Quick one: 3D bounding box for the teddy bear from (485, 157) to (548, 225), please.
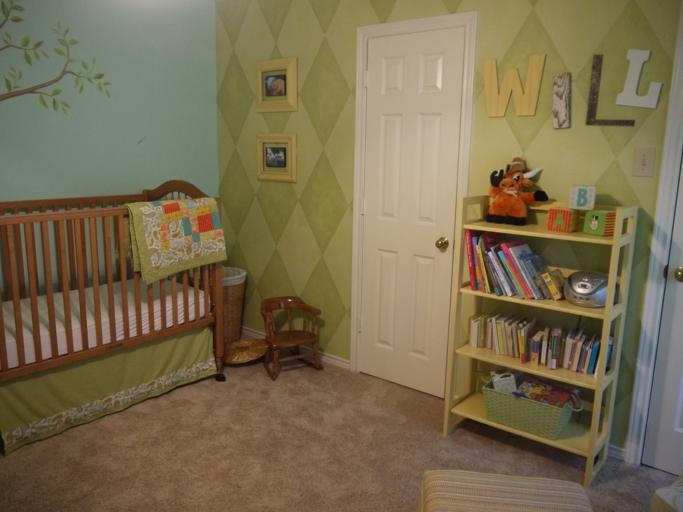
[{"bbox_3d":[1.073,-0.383,3.251,0.332,0.480,0.168,6,-5,36],"label":"teddy bear"}]

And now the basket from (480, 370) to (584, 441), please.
[{"bbox_3d":[1.150,0.857,3.267,0.524,0.308,0.317,11,19,29],"label":"basket"}]

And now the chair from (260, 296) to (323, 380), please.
[{"bbox_3d":[-0.394,0.627,4.120,0.385,0.576,0.408,-5,11,-24],"label":"chair"}]

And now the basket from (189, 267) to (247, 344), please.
[{"bbox_3d":[-0.988,0.478,4.529,0.296,0.496,0.332,-10,6,27],"label":"basket"}]

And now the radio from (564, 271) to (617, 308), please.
[{"bbox_3d":[1.422,0.200,3.082,0.298,0.201,0.311,-4,4,-18],"label":"radio"}]

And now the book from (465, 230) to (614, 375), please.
[{"bbox_3d":[1.155,0.246,3.201,0.882,0.725,0.309,11,18,29],"label":"book"}]
